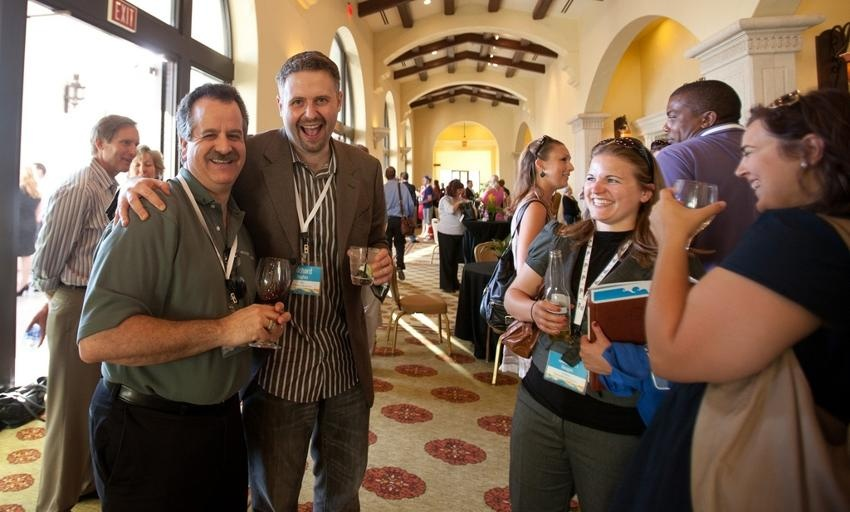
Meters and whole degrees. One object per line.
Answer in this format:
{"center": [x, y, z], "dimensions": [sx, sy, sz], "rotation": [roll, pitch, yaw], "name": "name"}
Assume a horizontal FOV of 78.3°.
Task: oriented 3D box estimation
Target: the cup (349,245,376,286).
{"center": [-0.322, 0.060, 2.503], "dimensions": [0.108, 0.202, 0.109], "rotation": [2, 7, 0], "name": "cup"}

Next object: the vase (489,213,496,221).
{"center": [1.000, -0.587, 7.829], "dimensions": [0.119, 0.121, 0.126], "rotation": [13, 13, -3], "name": "vase"}

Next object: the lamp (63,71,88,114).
{"center": [-2.807, -1.312, 4.137], "dimensions": [0.202, 0.261, 0.094], "rotation": [1, -11, 14], "name": "lamp"}

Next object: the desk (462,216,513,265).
{"center": [0.812, -0.224, 7.565], "dimensions": [0.636, 0.666, 0.664], "rotation": [2, 3, 34], "name": "desk"}

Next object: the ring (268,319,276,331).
{"center": [-0.637, 0.293, 2.150], "dimensions": [0.038, 0.041, 0.040], "rotation": [2, 0, 0], "name": "ring"}

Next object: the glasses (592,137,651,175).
{"center": [0.936, -0.500, 2.417], "dimensions": [0.203, 0.212, 0.085], "rotation": [6, 26, 20], "name": "glasses"}

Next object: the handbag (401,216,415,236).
{"center": [-0.317, -0.511, 8.799], "dimensions": [0.159, 0.340, 0.347], "rotation": [-1, -1, 20], "name": "handbag"}

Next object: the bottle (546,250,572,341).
{"center": [0.602, 0.178, 2.371], "dimensions": [0.127, 0.402, 0.199], "rotation": [3, 7, 13], "name": "bottle"}

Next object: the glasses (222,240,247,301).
{"center": [-0.840, 0.093, 2.283], "dimensions": [0.053, 0.203, 0.151], "rotation": [1, 1, 10], "name": "glasses"}

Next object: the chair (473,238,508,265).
{"center": [0.709, -0.043, 5.854], "dimensions": [0.270, 0.338, 0.260], "rotation": [-2, 6, -17], "name": "chair"}

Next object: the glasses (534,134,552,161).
{"center": [0.713, -0.684, 3.234], "dimensions": [0.035, 0.144, 0.111], "rotation": [23, 5, -11], "name": "glasses"}

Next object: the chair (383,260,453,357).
{"center": [-0.084, 0.498, 5.299], "dimensions": [0.625, 0.960, 0.587], "rotation": [-1, 5, 2], "name": "chair"}
